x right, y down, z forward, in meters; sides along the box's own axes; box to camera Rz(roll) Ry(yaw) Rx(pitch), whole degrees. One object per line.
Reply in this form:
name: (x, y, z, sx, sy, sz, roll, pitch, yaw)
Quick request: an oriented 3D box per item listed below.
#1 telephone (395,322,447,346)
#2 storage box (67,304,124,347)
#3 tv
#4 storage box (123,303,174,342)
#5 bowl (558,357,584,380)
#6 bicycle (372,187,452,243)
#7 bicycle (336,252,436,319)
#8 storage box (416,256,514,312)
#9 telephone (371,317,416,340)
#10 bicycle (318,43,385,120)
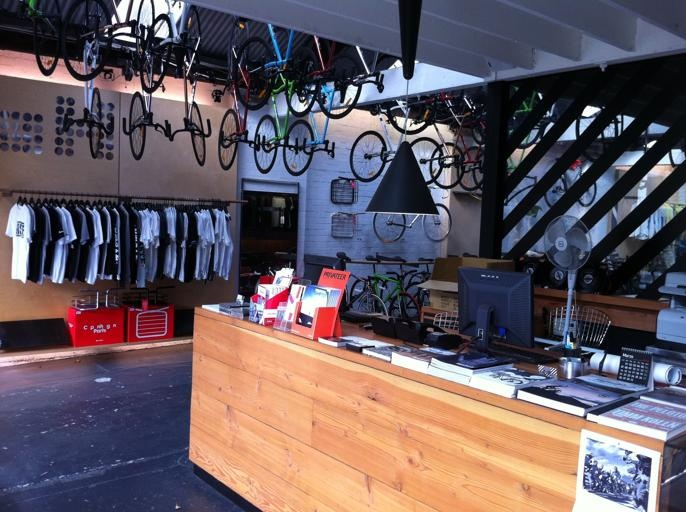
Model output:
telephone: (0.488, 0.503, 3.556, 0.144, 0.121, 0.264, 4, 4, 42)
storage box: (-3.470, 0.952, 7.241, 0.373, 0.510, 0.715, 0, -2, 36)
tv: (0.917, 0.358, 3.226, 0.480, 0.558, 0.377, 6, 11, 40)
storage box: (-2.828, 0.927, 7.638, 0.657, 0.521, 0.383, -1, 14, -29)
bowl: (1.281, 0.620, 2.917, 0.113, 0.115, 0.106, -1, 7, 0)
bicycle: (1.486, -0.671, 11.020, 2.133, 1.362, 0.863, -8, 16, -25)
bicycle: (0.795, 0.554, 9.440, 0.922, 1.187, 1.892, 2, 1, -25)
storage box: (1.599, 0.364, 5.974, 1.034, 0.665, 0.945, -4, 0, -35)
telephone: (0.343, 0.502, 3.625, 0.134, 0.102, 0.227, 1, 5, -29)
bicycle: (0.005, -2.237, 6.806, 0.708, 0.914, 1.436, 2, 19, -32)
